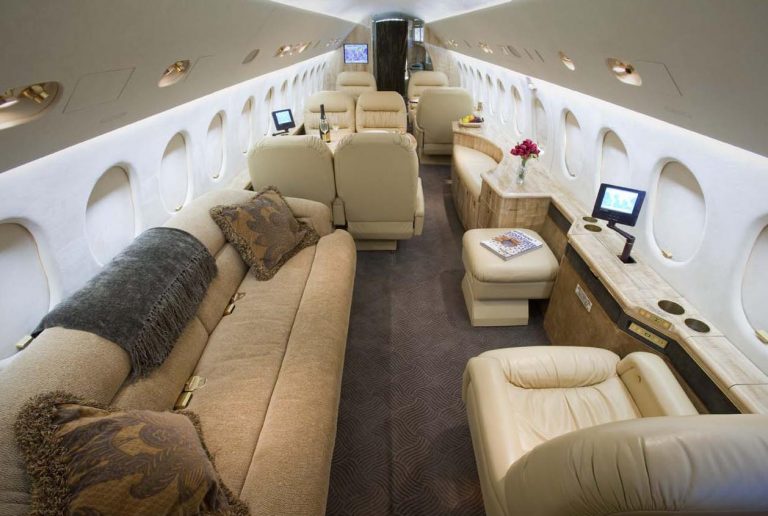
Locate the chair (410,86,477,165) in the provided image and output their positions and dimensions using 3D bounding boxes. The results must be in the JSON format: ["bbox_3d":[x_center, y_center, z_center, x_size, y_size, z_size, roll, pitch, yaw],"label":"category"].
[{"bbox_3d":[0.835,-2.028,7.203,0.750,0.989,1.112,-1,37,3],"label":"chair"}]

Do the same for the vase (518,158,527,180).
[{"bbox_3d":[1.318,-0.854,4.602,0.078,0.195,0.234,3,21,15],"label":"vase"}]

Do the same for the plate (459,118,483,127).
[{"bbox_3d":[1.214,-1.889,6.719,0.365,0.131,0.249,-2,20,0],"label":"plate"}]

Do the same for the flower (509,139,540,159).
[{"bbox_3d":[1.349,-1.019,4.553,0.213,0.191,0.282,9,23,28],"label":"flower"}]

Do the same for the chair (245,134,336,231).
[{"bbox_3d":[-0.787,-0.866,4.840,0.828,0.993,0.737,1,37,3],"label":"chair"}]

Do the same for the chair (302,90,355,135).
[{"bbox_3d":[-0.770,-2.107,7.056,0.706,0.786,0.645,-2,31,-2],"label":"chair"}]

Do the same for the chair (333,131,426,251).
[{"bbox_3d":[-0.064,-0.794,4.805,0.909,1.407,1.038,0,42,4],"label":"chair"}]

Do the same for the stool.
[{"bbox_3d":[1.064,0.253,4.390,0.760,0.697,0.811,-2,41,3],"label":"stool"}]

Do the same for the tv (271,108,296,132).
[{"bbox_3d":[-1.346,-1.793,6.301,0.147,0.286,0.273,25,43,36],"label":"tv"}]

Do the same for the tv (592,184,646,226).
[{"bbox_3d":[1.742,-0.391,3.534,0.283,0.292,0.024,22,24,27],"label":"tv"}]
